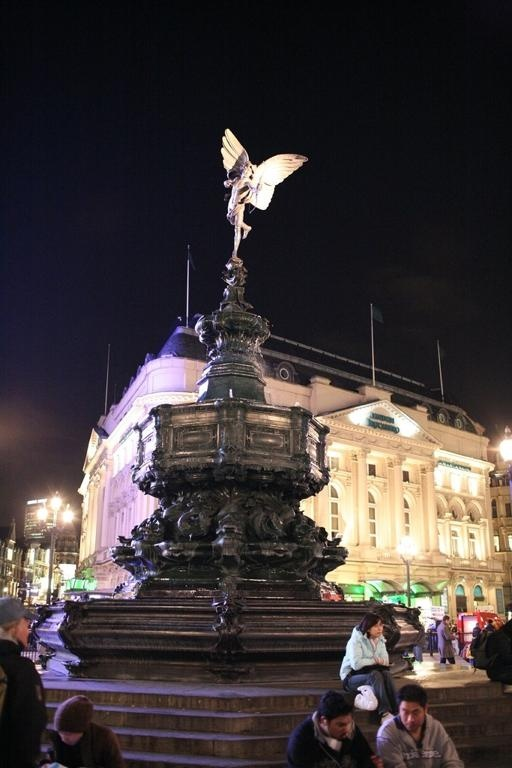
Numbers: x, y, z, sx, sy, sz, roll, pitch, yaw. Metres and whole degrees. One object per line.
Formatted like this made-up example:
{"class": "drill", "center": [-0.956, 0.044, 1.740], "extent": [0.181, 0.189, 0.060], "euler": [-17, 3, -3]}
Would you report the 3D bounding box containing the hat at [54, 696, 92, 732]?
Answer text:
{"class": "hat", "center": [-0.934, 1.666, 3.731], "extent": [0.153, 0.163, 0.198], "euler": [4, -23, 0]}
